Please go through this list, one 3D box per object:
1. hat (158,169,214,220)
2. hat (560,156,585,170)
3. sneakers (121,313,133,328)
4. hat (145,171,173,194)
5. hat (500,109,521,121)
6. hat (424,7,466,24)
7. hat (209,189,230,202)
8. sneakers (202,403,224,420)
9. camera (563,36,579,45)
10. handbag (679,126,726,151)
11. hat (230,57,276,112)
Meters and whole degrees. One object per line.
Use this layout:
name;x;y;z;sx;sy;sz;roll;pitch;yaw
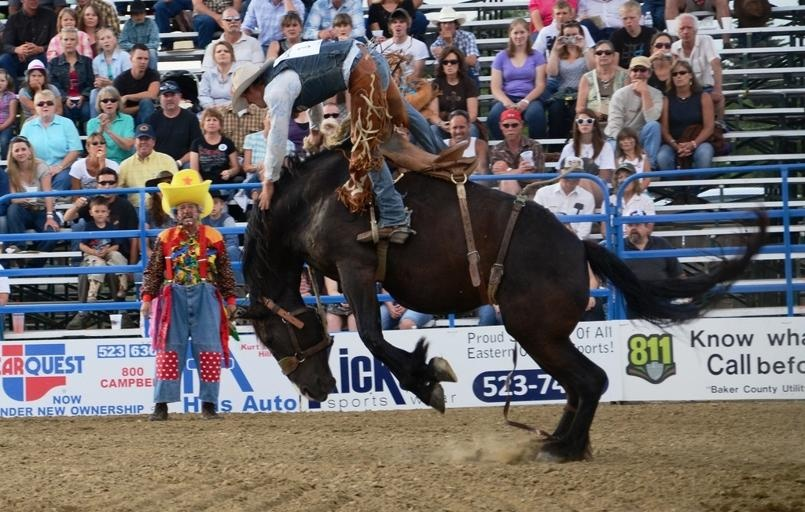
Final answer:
hat;-2.781;-0.770;21.625;0.641;0.627;0.257;-4;28;-13
hat;2.382;-1.261;22.894;0.361;0.205;0.462;1;-4;4
sneakers;-3.907;0.932;23.755;0.166;0.206;0.069;-6;-2;-9
hat;-3.396;-1.063;23.258;0.316;0.078;0.320;-4;-18;-45
hat;1.544;-2.039;23.422;0.269;0.162;0.245;-1;-11;6
hat;0.674;-3.896;26.569;0.541;0.184;0.515;-1;-12;1
hat;-2.527;-0.851;23.007;0.274;0.083;0.277;3;1;2
sneakers;-2.501;2.071;21.946;0.339;0.269;0.150;1;1;-6
camera;2.556;-3.315;25.192;0.155;0.096;0.143;-1;4;-3
handbag;4.473;-1.777;24.499;0.533;0.190;0.472;0;-3;-12
hat;-1.847;-2.060;19.855;0.353;0.597;0.570;-7;8;-39
